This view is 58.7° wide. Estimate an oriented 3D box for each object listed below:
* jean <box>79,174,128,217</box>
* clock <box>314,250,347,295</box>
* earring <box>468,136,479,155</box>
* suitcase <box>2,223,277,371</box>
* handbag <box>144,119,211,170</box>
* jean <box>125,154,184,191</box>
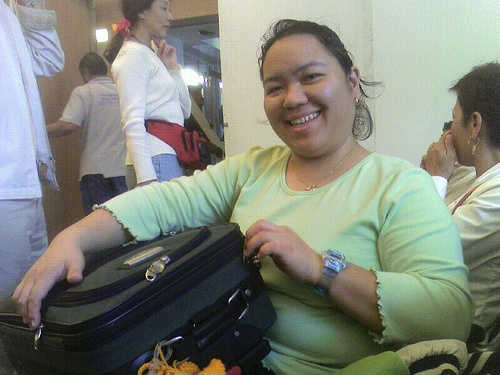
[{"bbox_3d":[-0.670,0.038,1.975,0.183,0.206,0.054,-1,1,10],"label":"jean"},{"bbox_3d":[0.200,0.212,1.119,0.067,0.114,0.106,26,-21,15],"label":"clock"},{"bbox_3d":[0.843,-0.160,1.681,0.015,0.066,0.041,0,6,-22],"label":"earring"},{"bbox_3d":[-0.278,0.275,1.148,0.523,0.341,0.401,-14,-11,-40],"label":"suitcase"},{"bbox_3d":[-0.303,-0.175,1.881,0.244,0.159,0.097,17,-27,-35],"label":"handbag"},{"bbox_3d":[-0.391,-0.065,1.835,0.234,0.152,0.111,1,5,-17],"label":"jean"}]
